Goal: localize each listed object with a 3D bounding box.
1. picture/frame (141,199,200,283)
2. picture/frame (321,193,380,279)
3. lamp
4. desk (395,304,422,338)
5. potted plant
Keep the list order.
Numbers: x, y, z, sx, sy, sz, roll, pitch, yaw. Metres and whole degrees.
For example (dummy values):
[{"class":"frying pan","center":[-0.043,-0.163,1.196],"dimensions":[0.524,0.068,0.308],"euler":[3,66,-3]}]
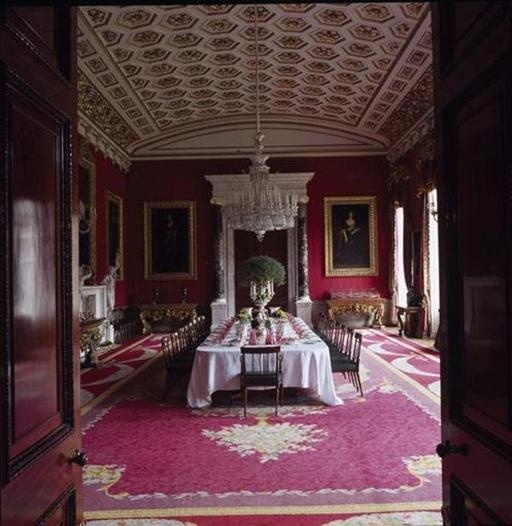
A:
[{"class":"picture/frame","center":[-2.406,-0.573,11.958],"dimensions":[1.590,3.138,0.191],"euler":[0,-4,-1]},{"class":"picture/frame","center":[2.621,-0.757,11.973],"dimensions":[1.641,3.246,0.110],"euler":[0,-3,-2]},{"class":"lamp","center":[0.012,-2.238,7.296],"dimensions":[0.952,4.033,1.007],"euler":[5,-14,-26]},{"class":"desk","center":[3.575,1.346,10.291],"dimensions":[0.359,0.747,1.072],"euler":[-1,-1,3]},{"class":"potted plant","center":[0.089,0.528,6.662],"dimensions":[0.767,1.476,0.928],"euler":[1,-17,1]}]
